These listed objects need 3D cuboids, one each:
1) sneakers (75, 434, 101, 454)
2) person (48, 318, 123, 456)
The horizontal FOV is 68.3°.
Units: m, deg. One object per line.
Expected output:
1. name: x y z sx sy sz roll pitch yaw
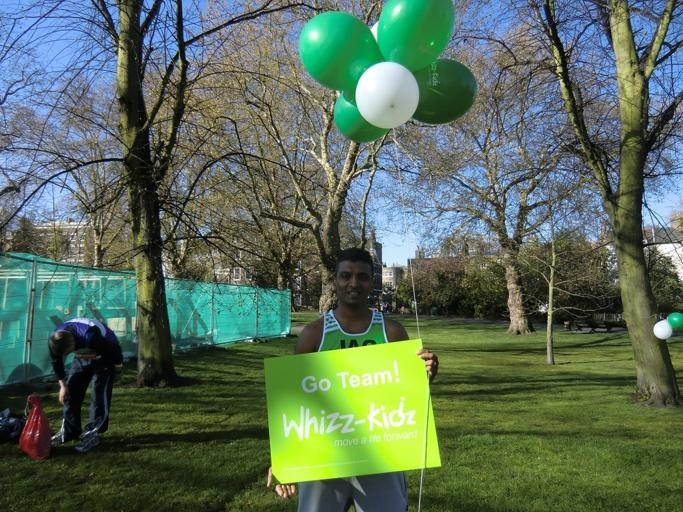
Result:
1. sneakers: -3.698 2.731 7.339 0.319 0.222 0.245 3 -9 -32
2. person: -3.817 1.894 7.500 0.913 1.918 1.038 -2 -7 0
